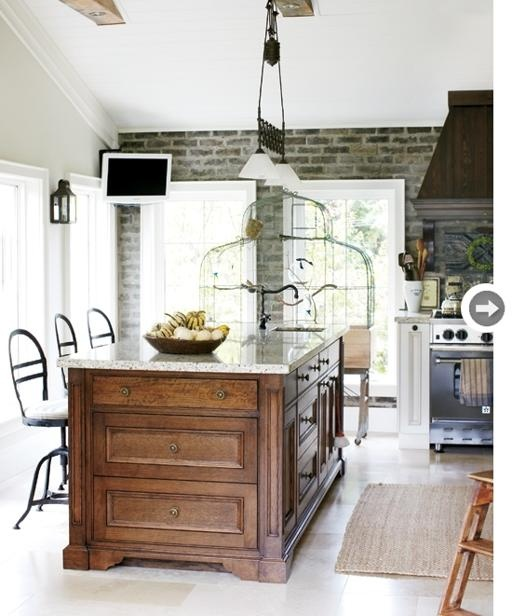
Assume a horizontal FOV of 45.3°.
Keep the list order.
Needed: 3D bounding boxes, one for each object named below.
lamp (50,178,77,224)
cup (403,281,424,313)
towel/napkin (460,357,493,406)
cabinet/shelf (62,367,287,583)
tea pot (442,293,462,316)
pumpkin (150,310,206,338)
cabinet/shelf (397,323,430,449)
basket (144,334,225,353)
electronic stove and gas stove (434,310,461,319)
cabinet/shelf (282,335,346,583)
[{"bbox_3d":[-1.417,-0.773,4.510,0.179,0.318,0.156,0,0,14],"label":"lamp"},{"bbox_3d":[1.290,-0.086,5.009,0.148,0.224,0.155,0,0,0],"label":"cup"},{"bbox_3d":[1.558,0.517,4.280,0.262,0.310,0.075,1,-4,8],"label":"towel/napkin"},{"bbox_3d":[-0.218,0.654,2.834,1.113,1.038,0.769,-1,-3,8],"label":"cabinet/shelf"},{"bbox_3d":[1.552,-0.023,4.846,0.176,0.178,0.185,0,4,0],"label":"tea pot"},{"bbox_3d":[-0.359,0.072,2.844,0.127,0.096,0.213,10,19,41],"label":"pumpkin"},{"bbox_3d":[1.216,0.585,4.727,0.241,0.865,0.100,0,0,15],"label":"cabinet/shelf"},{"bbox_3d":[-0.313,0.167,2.695,0.338,0.080,0.133,0,0,-5],"label":"basket"},{"bbox_3d":[1.508,0.057,4.838,0.205,0.055,0.515,0,0,17],"label":"electronic stove and gas stove"},{"bbox_3d":[0.274,0.743,2.973,0.309,0.565,0.911,0,5,8],"label":"cabinet/shelf"}]
